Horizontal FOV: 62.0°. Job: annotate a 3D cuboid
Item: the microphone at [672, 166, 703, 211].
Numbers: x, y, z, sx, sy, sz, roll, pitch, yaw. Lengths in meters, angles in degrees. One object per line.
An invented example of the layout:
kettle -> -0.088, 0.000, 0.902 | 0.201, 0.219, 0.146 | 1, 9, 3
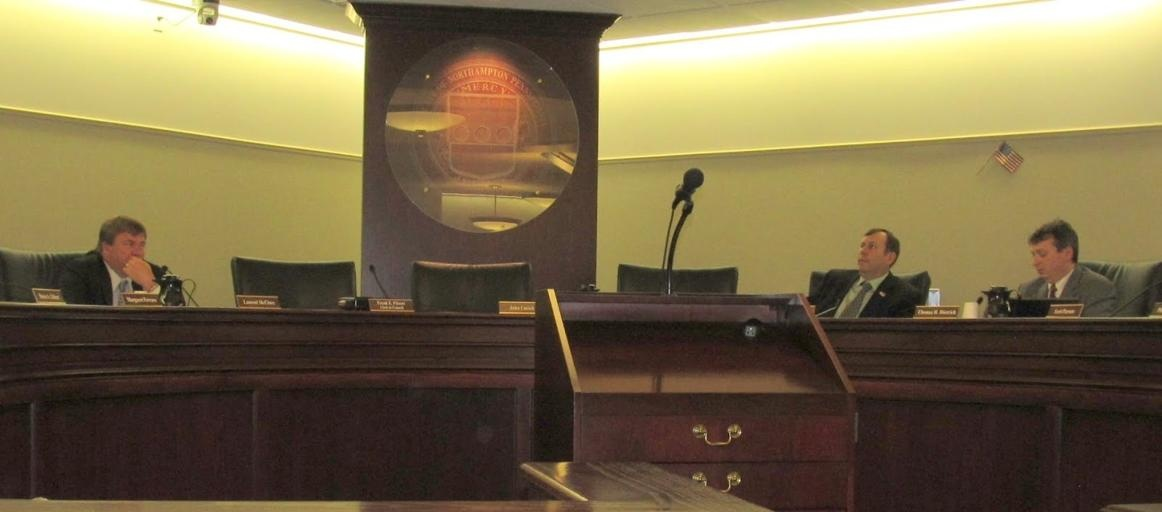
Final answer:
microphone -> 0.875, -0.561, 7.943 | 0.200, 0.303, 0.292 | 1, 1, 2

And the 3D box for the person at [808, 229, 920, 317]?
person -> 2.997, 0.193, 10.030 | 0.629, 0.683, 1.017 | 21, -11, -37

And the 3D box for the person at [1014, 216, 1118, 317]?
person -> 4.850, 0.209, 9.663 | 0.850, 1.044, 1.253 | -1, 4, -6

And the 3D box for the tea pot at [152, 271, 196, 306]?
tea pot -> -3.677, 0.323, 8.853 | 0.391, 0.295, 0.332 | -9, 16, -44

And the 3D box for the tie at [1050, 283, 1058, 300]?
tie -> 4.634, 0.350, 9.449 | 0.073, 0.099, 0.058 | 2, 2, 13
